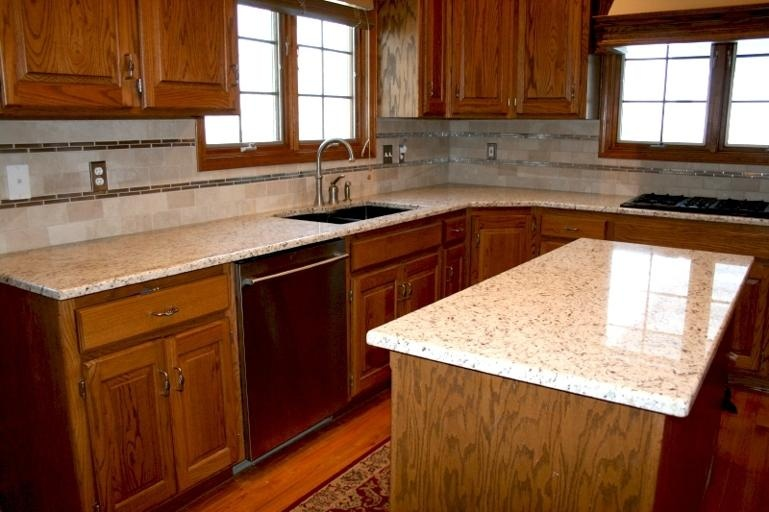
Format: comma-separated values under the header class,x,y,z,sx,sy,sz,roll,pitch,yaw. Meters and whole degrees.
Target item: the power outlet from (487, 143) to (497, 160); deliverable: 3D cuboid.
class,x,y,z,sx,sy,sz,roll,pitch,yaw
power outlet,0.950,-0.933,5.023,0.119,0.202,0.020,12,21,36
